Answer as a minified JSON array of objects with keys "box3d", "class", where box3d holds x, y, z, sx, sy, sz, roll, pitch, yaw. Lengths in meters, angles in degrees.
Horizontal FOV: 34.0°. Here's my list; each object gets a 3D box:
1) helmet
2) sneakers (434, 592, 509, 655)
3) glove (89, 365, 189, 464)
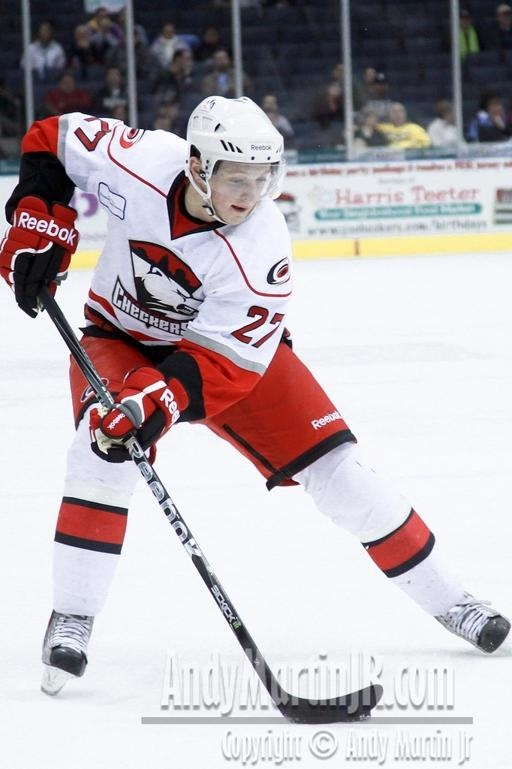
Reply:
[{"box3d":[-0.038,-0.425,1.498,0.169,0.191,0.143,0,9,-3],"class":"helmet"},{"box3d":[0.404,0.449,1.573,0.117,0.065,0.043,32,-2,46],"class":"sneakers"},{"box3d":[-0.188,0.044,1.395,0.084,0.124,0.172,-28,7,28],"class":"glove"}]
